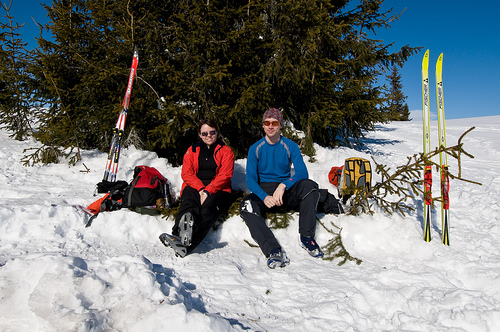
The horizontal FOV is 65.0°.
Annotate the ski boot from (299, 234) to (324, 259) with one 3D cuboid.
[{"bbox_3d":[1.125,1.483,7.361,0.221,0.256,0.580,-23,57,-36],"label":"ski boot"}]

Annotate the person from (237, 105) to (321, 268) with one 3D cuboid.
[{"bbox_3d":[0.578,0.327,7.542,1.495,2.851,1.184,1,1,9],"label":"person"}]

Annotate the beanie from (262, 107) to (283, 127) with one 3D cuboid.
[{"bbox_3d":[0.467,-0.946,7.729,0.257,0.307,0.345,0,-18,9],"label":"beanie"}]

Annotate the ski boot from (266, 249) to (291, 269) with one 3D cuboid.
[{"bbox_3d":[0.493,1.676,6.987,0.197,0.221,0.471,-14,-25,23],"label":"ski boot"}]

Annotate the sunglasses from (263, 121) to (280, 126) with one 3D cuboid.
[{"bbox_3d":[0.418,-0.818,7.581,0.285,0.086,0.073,1,2,7],"label":"sunglasses"}]

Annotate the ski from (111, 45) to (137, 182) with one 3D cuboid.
[{"bbox_3d":[-2.947,-1.314,9.156,0.129,3.450,0.163,-7,-24,45],"label":"ski"}]

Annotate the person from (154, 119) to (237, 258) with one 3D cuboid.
[{"bbox_3d":[-0.914,0.314,7.733,0.989,1.541,3.035,12,40,2],"label":"person"}]

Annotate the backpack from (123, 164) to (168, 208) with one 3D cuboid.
[{"bbox_3d":[-2.008,0.452,7.890,0.599,0.867,0.357,8,-24,8],"label":"backpack"}]

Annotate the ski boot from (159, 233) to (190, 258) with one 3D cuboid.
[{"bbox_3d":[-1.327,1.395,6.910,0.539,0.395,0.238,2,2,28],"label":"ski boot"}]

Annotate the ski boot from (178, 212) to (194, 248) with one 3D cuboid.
[{"bbox_3d":[-1.094,1.139,6.904,0.206,0.591,0.245,2,-17,0],"label":"ski boot"}]

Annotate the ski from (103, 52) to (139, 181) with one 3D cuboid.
[{"bbox_3d":[-2.906,-0.893,8.655,0.234,2.530,0.286,15,-25,-11],"label":"ski"}]
